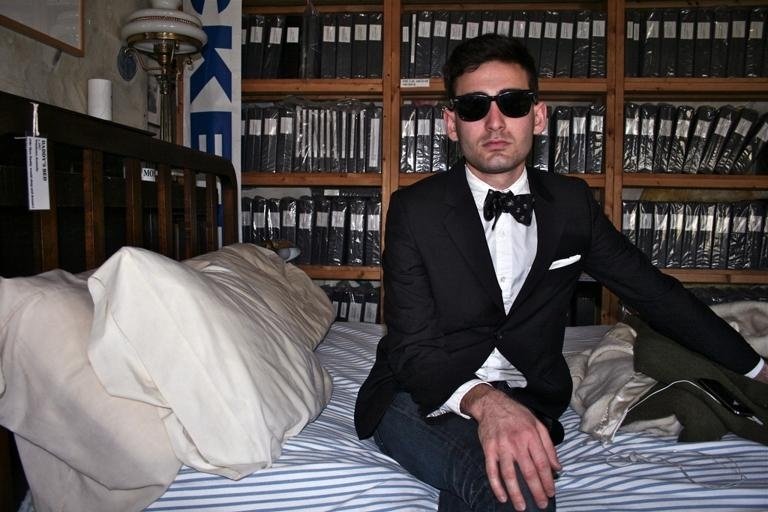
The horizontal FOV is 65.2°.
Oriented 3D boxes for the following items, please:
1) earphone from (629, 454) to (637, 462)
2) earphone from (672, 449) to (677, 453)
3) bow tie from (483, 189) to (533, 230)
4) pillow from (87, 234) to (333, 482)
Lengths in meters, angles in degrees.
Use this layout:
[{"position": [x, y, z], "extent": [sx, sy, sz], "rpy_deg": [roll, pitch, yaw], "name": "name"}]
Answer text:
[{"position": [0.745, 0.597, 1.785], "extent": [0.024, 0.015, 0.024], "rpy_deg": [0, 4, 0], "name": "earphone"}, {"position": [0.879, 0.584, 1.809], "extent": [0.017, 0.009, 0.009], "rpy_deg": [0, 4, 0], "name": "earphone"}, {"position": [0.399, -0.155, 1.932], "extent": [0.126, 0.128, 0.042], "rpy_deg": [3, 13, 6], "name": "bow tie"}, {"position": [-0.482, 0.285, 1.836], "extent": [0.453, 0.521, 1.231], "rpy_deg": [2, 10, 3], "name": "pillow"}]
